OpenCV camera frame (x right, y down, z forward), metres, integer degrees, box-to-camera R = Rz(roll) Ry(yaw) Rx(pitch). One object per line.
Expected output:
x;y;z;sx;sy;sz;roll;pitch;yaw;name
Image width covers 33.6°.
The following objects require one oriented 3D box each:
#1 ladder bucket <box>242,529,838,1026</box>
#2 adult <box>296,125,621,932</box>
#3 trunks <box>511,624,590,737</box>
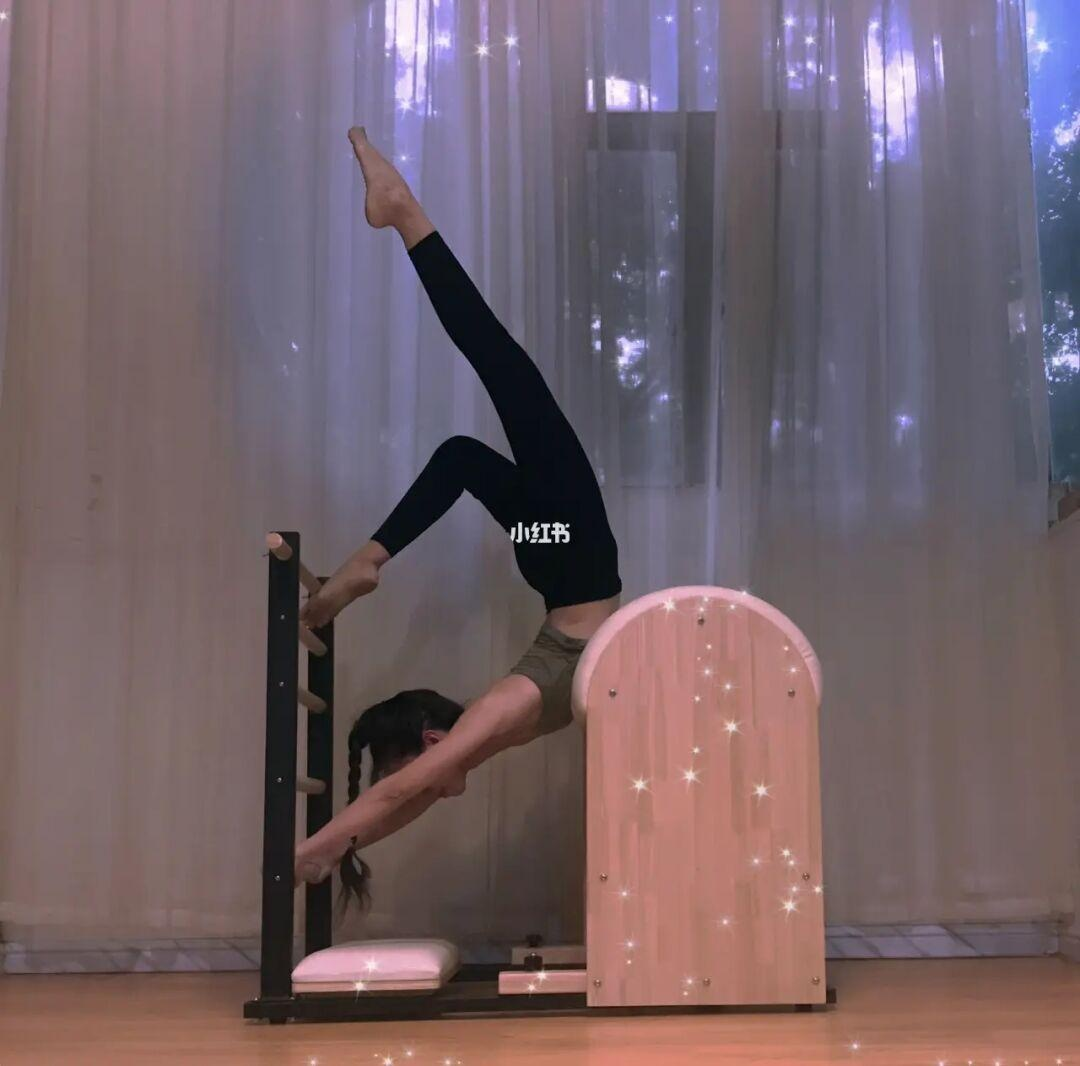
-0.016;0.423;3.313;0.935;1.099;0.652;-1;-4;-3;ladder bucket
-0.140;-0.053;3.424;0.600;1.567;0.321;-6;24;-14;adult
0.035;0.314;3.324;0.092;0.096;0.156;8;37;-11;trunks
